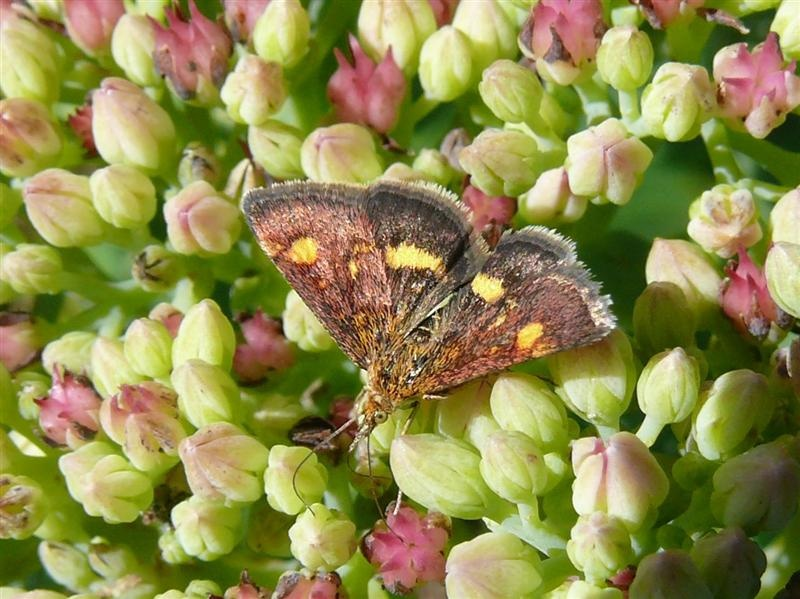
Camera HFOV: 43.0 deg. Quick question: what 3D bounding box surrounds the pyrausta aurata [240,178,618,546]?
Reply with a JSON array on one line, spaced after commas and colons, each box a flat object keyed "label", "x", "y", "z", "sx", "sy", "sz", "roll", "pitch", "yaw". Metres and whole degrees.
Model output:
[{"label": "pyrausta aurata", "x": 0.015, "y": 0.038, "z": 1.234, "sx": 0.465, "sy": 0.143, "sz": 0.388, "roll": 22, "pitch": 71, "yaw": 19}]
